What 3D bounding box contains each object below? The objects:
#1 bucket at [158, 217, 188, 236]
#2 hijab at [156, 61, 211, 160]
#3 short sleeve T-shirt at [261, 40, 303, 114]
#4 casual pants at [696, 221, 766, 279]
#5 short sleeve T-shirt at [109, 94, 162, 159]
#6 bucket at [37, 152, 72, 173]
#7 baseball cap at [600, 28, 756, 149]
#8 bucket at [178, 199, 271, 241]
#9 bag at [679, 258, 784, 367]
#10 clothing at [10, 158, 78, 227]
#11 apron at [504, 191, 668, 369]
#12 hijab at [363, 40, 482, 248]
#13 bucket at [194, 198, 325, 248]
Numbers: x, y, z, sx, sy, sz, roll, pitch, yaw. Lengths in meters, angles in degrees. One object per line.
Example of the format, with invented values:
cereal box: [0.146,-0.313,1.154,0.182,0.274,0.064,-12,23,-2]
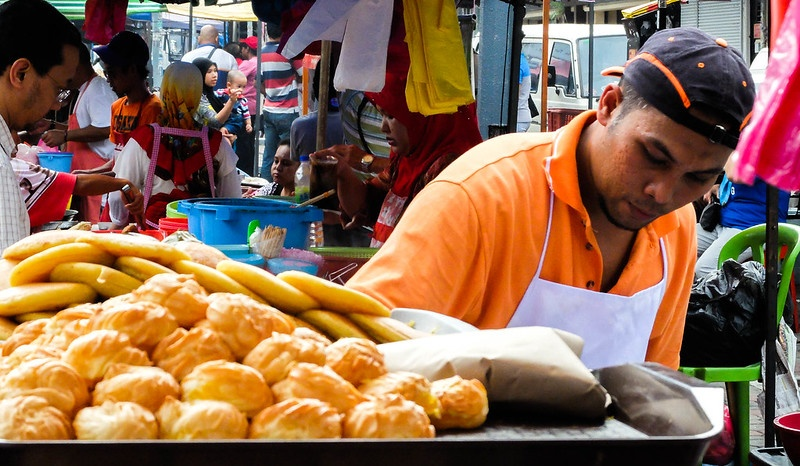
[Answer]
bucket: [-1.277,-0.033,3.647,0.107,0.077,0.103,2,6,0]
hijab: [-1.750,-0.999,5.271,0.580,0.754,0.424,6,17,13]
short sleeve T-shirt: [-1.720,-2.218,9.359,0.842,1.054,0.415,8,11,35]
casual pants: [2.370,0.123,4.591,0.396,0.489,0.409,0,7,-10]
short sleeve T-shirt: [-2.249,-0.910,5.525,0.380,0.610,0.662,6,3,-41]
bucket: [-3.001,-0.605,5.591,0.322,0.228,0.308,-1,6,0]
baseball cap: [1.009,-0.568,2.273,0.414,0.306,0.542,17,28,-14]
bucket: [-0.992,-0.063,3.628,0.346,0.118,0.333,1,7,0]
bag: [2.046,0.433,3.756,0.474,0.564,0.560,-14,6,-13]
clothing: [-2.278,-0.255,4.139,0.320,0.341,0.500,9,-1,22]
apron: [0.623,0.144,2.224,0.475,0.608,0.331,22,-2,-19]
hijab: [0.152,-0.354,4.318,0.826,1.456,1.114,4,0,-17]
bucket: [-0.862,-0.070,3.963,0.805,0.298,0.827,3,9,0]
